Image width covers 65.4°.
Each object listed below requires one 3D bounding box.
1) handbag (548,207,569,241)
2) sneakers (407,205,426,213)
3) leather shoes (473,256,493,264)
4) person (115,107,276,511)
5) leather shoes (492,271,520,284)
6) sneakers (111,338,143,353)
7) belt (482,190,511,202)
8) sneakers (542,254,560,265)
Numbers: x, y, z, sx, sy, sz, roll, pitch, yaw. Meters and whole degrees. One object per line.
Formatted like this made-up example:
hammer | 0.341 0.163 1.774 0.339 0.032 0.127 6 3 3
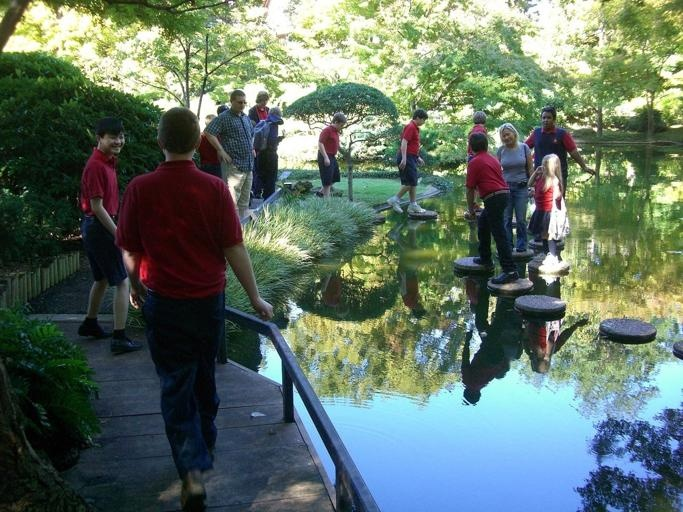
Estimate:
handbag | 3.238 -0.494 7.974 0.394 0.555 0.211 -9 16 -28
sneakers | 1.853 -1.176 13.191 0.320 0.138 0.205 0 10 15
leather shoes | 2.217 0.041 8.355 0.290 0.142 0.240 3 15 18
person | -0.878 0.229 3.051 0.832 2.105 0.742 9 18 39
leather shoes | 2.274 0.287 7.407 0.359 0.162 0.155 -1 10 4
sneakers | -1.848 0.759 4.578 0.241 0.104 0.115 -5 11 -31
belt | 2.088 -0.838 7.244 0.354 0.151 0.117 0 14 6
sneakers | 3.278 0.029 8.293 0.240 0.133 0.267 3 15 18
